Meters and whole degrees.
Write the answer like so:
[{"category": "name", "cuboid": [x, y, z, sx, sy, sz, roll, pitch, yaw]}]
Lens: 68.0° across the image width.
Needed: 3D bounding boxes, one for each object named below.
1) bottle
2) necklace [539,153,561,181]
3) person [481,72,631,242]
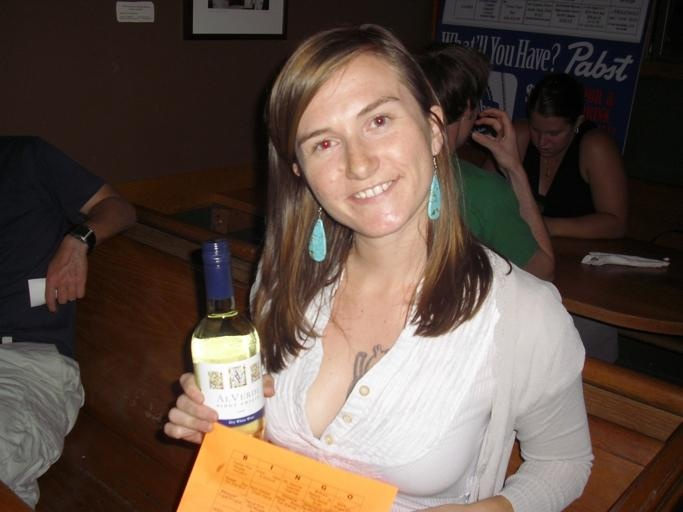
[{"category": "bottle", "cuboid": [-0.250, 0.169, 1.091, 0.149, 0.453, 0.271, -3, 27, -11]}, {"category": "necklace", "cuboid": [1.284, -0.552, 3.118, 0.081, 0.150, 0.106, 12, 14, 19]}, {"category": "person", "cuboid": [1.319, -0.426, 3.223, 0.820, 1.387, 0.725, 9, 46, 30]}]
